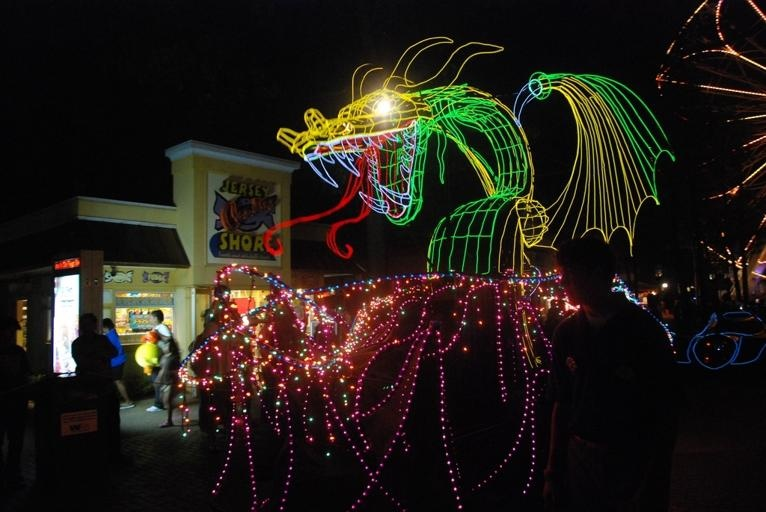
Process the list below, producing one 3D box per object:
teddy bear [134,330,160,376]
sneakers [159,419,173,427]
[{"bbox_3d":[-5.215,2.130,14.870,0.425,0.936,0.539,4,-8,-31],"label":"teddy bear"},{"bbox_3d":[-4.644,3.590,14.362,0.264,0.149,0.181,3,-7,-20],"label":"sneakers"}]
